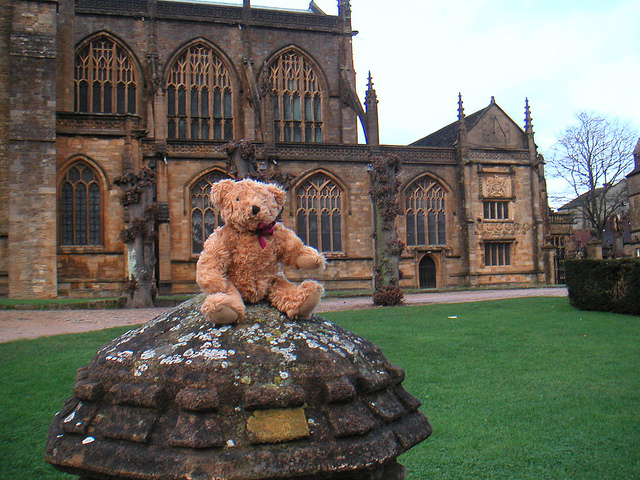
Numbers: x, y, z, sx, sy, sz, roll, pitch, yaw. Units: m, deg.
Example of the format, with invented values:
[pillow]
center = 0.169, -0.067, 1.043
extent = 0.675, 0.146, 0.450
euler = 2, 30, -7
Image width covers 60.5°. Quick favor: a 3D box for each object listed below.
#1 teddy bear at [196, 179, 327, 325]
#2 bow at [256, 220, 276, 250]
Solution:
[teddy bear]
center = -0.420, 0.060, 3.938
extent = 0.897, 0.976, 0.749
euler = -1, 11, -15
[bow]
center = -0.398, -0.039, 3.973
extent = 0.133, 0.191, 0.047
euler = -5, 10, -25
